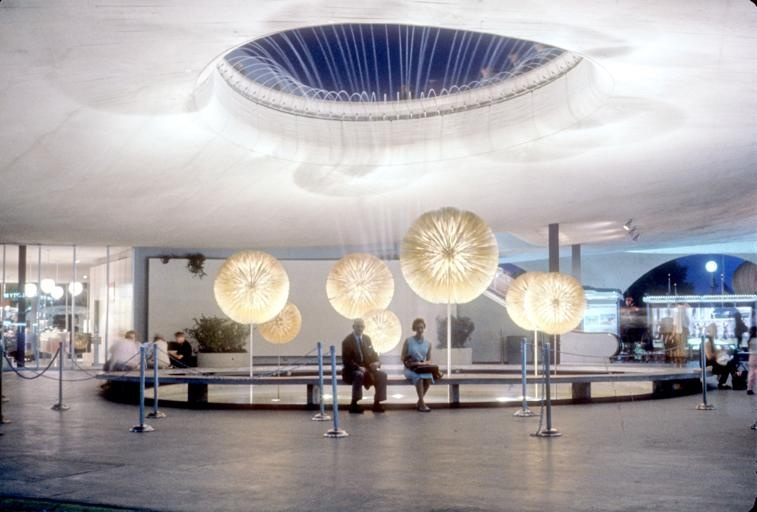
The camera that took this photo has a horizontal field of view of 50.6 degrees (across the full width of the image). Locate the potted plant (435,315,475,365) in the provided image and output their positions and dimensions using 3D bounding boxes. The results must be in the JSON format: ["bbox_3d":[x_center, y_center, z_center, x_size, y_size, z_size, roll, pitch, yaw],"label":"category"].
[{"bbox_3d":[3.200,3.376,31.810,1.844,2.367,1.624,3,-10,-19],"label":"potted plant"}]

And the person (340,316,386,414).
[{"bbox_3d":[-0.347,2.434,17.787,0.963,2.053,0.618,4,-11,-31],"label":"person"}]

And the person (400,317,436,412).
[{"bbox_3d":[0.951,2.457,18.106,0.840,2.076,0.672,-2,-9,1],"label":"person"}]

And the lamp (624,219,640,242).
[{"bbox_3d":[9.319,-0.994,29.366,0.339,0.576,0.288,39,-39,-1],"label":"lamp"}]

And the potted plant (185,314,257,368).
[{"bbox_3d":[-5.697,3.119,29.061,1.679,1.868,1.876,-2,-7,4],"label":"potted plant"}]
